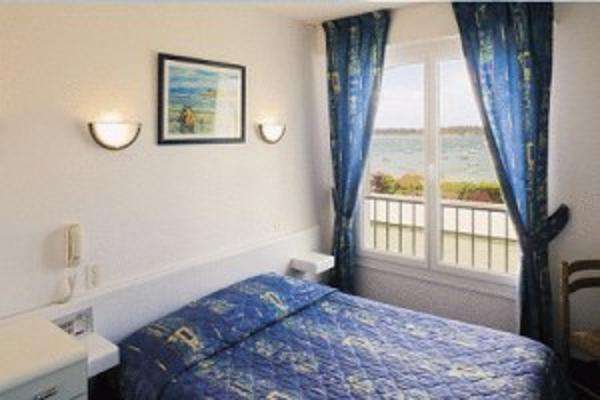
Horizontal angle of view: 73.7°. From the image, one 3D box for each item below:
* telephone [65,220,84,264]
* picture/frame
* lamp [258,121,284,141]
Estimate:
[{"bbox_3d":[-1.610,0.319,2.858,0.031,0.297,0.116,2,2,13],"label":"telephone"},{"bbox_3d":[-0.881,-0.889,3.422,0.892,0.724,0.041,-4,10,-45],"label":"picture/frame"},{"bbox_3d":[-0.300,-0.682,3.946,0.070,0.128,0.212,8,14,37],"label":"lamp"}]
